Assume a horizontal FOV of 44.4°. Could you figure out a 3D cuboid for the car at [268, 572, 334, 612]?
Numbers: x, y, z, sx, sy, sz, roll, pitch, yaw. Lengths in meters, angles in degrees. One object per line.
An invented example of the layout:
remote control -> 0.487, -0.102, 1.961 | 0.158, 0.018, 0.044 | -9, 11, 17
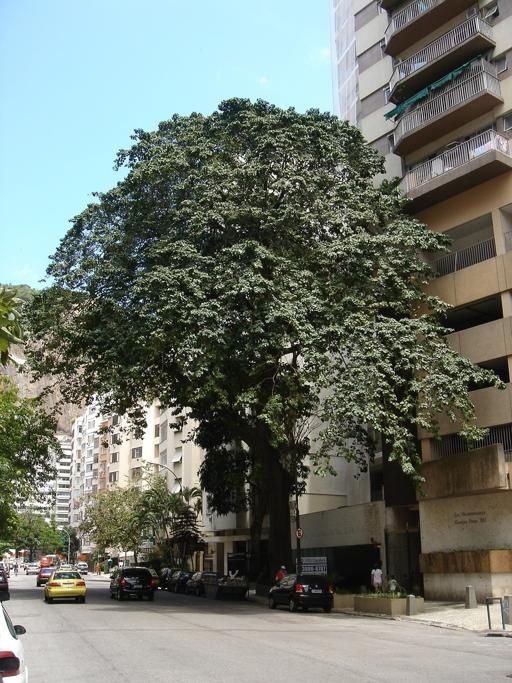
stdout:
car -> 1.746, 9.707, 24.232 | 1.452, 1.152, 2.789 | 7, -24, -15
